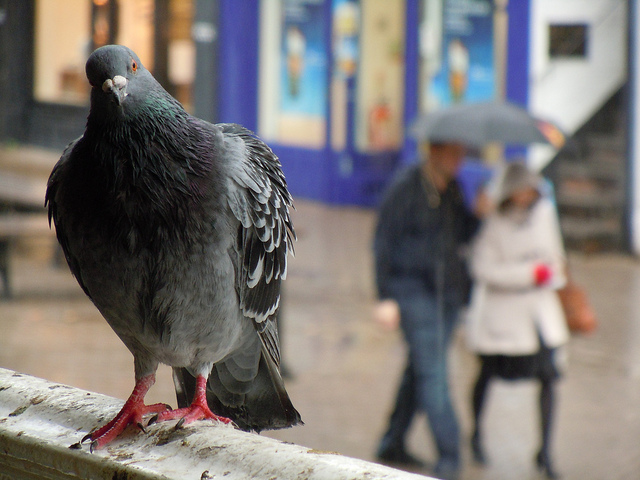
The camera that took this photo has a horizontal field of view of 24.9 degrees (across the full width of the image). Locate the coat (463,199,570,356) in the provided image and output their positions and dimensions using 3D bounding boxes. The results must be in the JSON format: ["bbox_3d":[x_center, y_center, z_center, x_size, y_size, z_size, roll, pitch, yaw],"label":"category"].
[{"bbox_3d":[1.037,0.161,7.533,0.646,1.071,0.207,-2,9,10],"label":"coat"}]

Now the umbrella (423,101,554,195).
[{"bbox_3d":[0.839,-0.528,7.446,0.477,0.430,0.508,-2,13,-23],"label":"umbrella"}]

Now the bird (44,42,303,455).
[{"bbox_3d":[-0.685,0.027,7.070,1.225,1.922,0.741,-1,11,-19],"label":"bird"}]
